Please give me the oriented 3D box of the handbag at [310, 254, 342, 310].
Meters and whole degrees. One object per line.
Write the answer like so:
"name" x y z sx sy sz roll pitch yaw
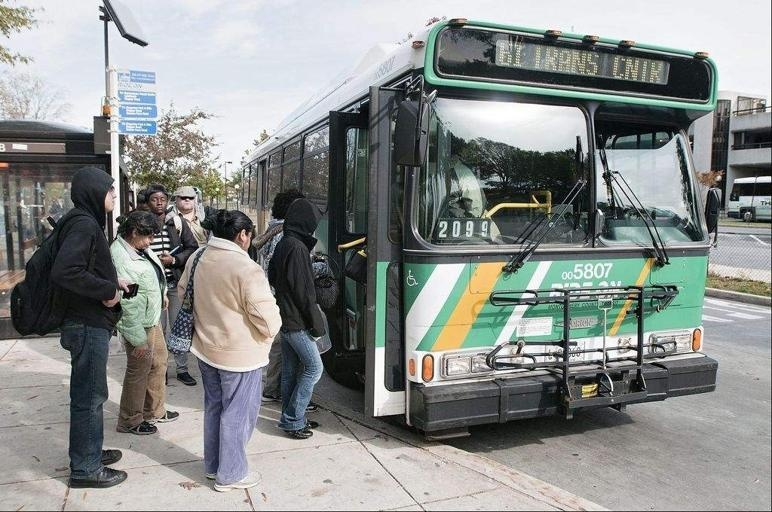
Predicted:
"handbag" -0.781 0.376 6.917 0.431 0.280 0.720 -8 -35 0

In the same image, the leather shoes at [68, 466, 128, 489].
"leather shoes" -2.840 2.220 5.537 0.535 0.228 0.208 -1 7 -23

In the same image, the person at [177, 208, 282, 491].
"person" -1.554 0.916 5.634 0.640 2.718 0.838 -8 16 -41

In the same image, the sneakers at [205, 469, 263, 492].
"sneakers" -1.555 2.272 5.623 0.474 0.219 0.201 -5 11 -30

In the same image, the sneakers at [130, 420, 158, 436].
"sneakers" -2.811 1.988 6.475 0.319 0.144 0.127 0 5 -3

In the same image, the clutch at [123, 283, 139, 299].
"clutch" -2.724 0.364 5.945 0.152 0.066 0.184 -29 43 2

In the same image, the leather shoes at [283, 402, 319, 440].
"leather shoes" -0.935 2.017 6.737 0.169 0.224 0.492 22 13 24

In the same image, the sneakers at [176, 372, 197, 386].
"sneakers" -2.821 1.737 7.897 0.361 0.153 0.132 3 4 44

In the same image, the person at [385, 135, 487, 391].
"person" 0.597 0.043 6.247 1.171 2.988 0.703 3 12 1

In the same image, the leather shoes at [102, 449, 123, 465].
"leather shoes" -2.899 2.122 5.908 0.199 0.073 0.109 3 22 -17

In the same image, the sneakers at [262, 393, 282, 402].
"sneakers" -1.552 1.914 7.565 0.283 0.113 0.095 0 -2 -9
